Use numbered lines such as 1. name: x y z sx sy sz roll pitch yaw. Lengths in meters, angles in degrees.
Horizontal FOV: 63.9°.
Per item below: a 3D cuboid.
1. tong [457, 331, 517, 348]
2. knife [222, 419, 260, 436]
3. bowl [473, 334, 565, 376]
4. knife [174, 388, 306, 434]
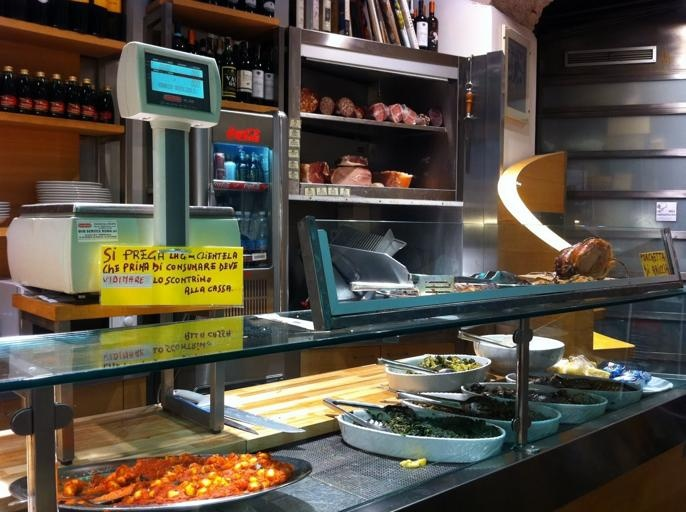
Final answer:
1. tong: 0.391 0.221 1.469 0.185 0.022 0.031 12 16 -17
2. knife: -0.244 0.408 1.303 0.094 0.009 0.015 13 28 28
3. bowl: 0.481 0.265 1.485 0.169 0.049 0.154 0 -1 0
4. knife: -0.263 0.389 1.361 0.344 0.031 0.078 8 11 26
